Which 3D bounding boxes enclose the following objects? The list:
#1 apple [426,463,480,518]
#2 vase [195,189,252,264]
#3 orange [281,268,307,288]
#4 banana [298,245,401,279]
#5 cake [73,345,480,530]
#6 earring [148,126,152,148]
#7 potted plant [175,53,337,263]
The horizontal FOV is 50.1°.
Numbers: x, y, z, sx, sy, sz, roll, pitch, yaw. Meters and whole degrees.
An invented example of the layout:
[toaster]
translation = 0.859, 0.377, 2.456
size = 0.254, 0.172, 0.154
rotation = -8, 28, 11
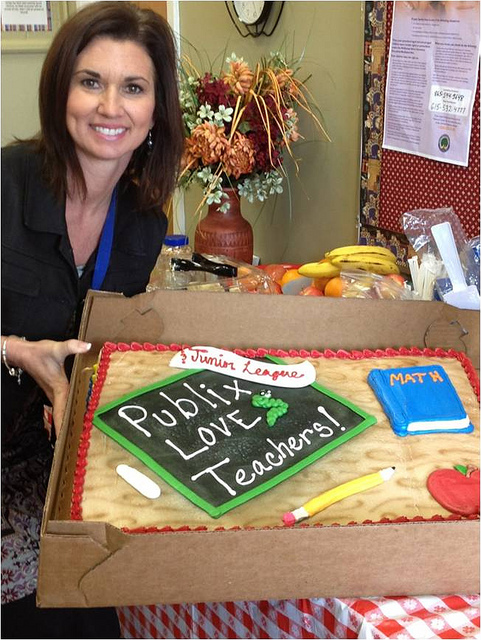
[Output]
[apple]
translation = 0.273, 0.207, 0.665
size = 0.077, 0.038, 0.051
rotation = -14, 24, -33
[vase]
translation = -0.055, -0.300, 1.775
size = 0.194, 0.326, 0.205
rotation = -5, 21, -10
[orange]
translation = 0.156, -0.132, 1.528
size = 0.052, 0.053, 0.063
rotation = -5, 28, -29
[banana]
translation = 0.283, -0.152, 1.361
size = 0.217, 0.068, 0.112
rotation = -18, 11, 17
[cake]
translation = 0.085, 0.140, 0.771
size = 0.679, 0.124, 0.403
rotation = 1, 11, -3
[earring]
translation = -0.245, -0.494, 1.395
size = 0.010, 0.046, 0.025
rotation = -2, 11, -15
[potted plant]
translation = 0.037, -0.461, 1.670
size = 0.504, 0.644, 0.474
rotation = 6, 14, 8
